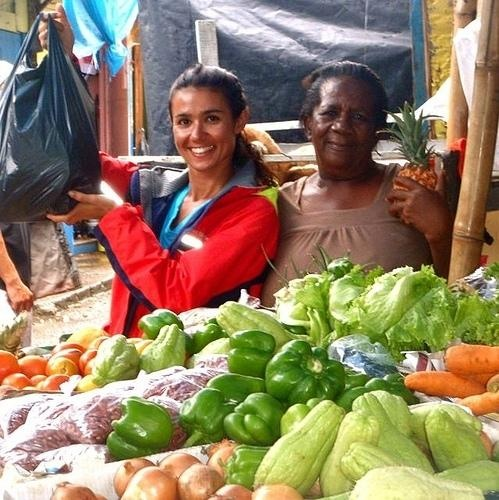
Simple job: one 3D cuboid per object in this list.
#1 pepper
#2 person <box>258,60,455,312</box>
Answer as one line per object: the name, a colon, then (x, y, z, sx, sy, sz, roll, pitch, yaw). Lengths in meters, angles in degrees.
pepper: (0.013, 0.288, 0.895, 0.319, 0.092, 0.318, 14, 24, 41)
person: (0.631, -0.246, 2.640, 0.987, 1.556, 0.744, 1, 18, 14)
